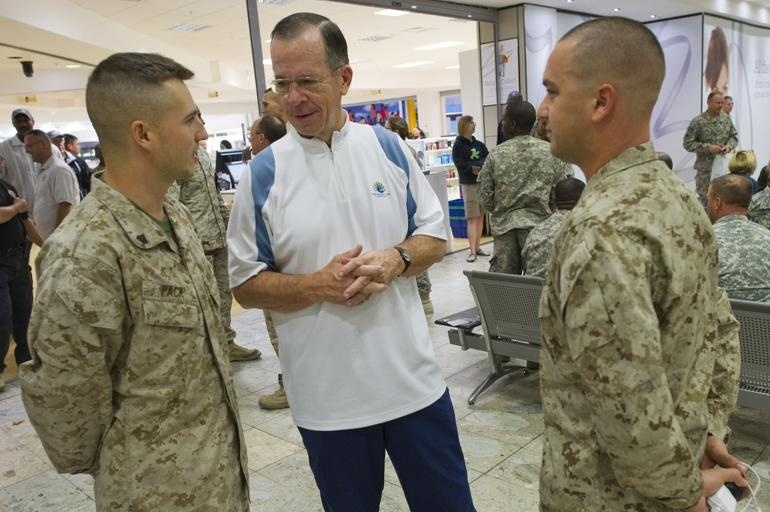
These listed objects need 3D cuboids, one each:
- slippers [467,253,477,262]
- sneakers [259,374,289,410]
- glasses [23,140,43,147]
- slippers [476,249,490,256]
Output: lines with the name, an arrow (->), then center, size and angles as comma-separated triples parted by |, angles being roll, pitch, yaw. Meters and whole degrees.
slippers -> 1.249, 0.019, 7.955 | 0.112, 0.102, 0.261 | -1, 2, 14
sneakers -> -0.802, 1.023, 4.145 | 0.310, 0.297, 0.145 | 10, -25, -30
glasses -> -3.265, -1.053, 5.161 | 0.126, 0.050, 0.133 | -3, 0, -1
slippers -> 1.452, -0.052, 8.157 | 0.193, 0.078, 0.080 | 1, 9, 18
